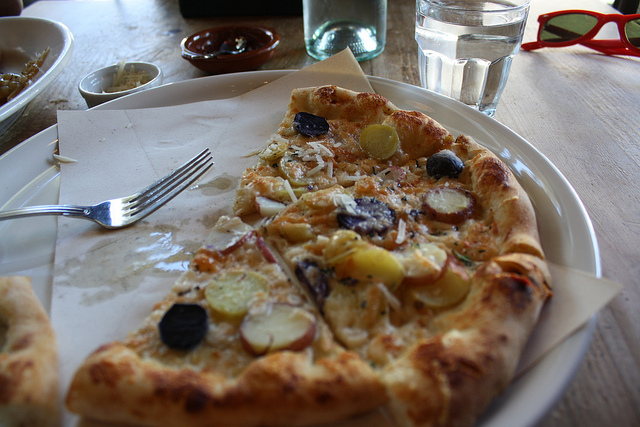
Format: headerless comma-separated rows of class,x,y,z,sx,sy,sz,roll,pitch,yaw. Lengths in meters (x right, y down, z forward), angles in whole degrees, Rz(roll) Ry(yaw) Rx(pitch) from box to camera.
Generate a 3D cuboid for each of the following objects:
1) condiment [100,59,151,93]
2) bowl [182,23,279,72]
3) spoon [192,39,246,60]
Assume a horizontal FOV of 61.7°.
condiment,-1.411,-1.036,4.056,0.216,0.093,0.221,10,83,-6
bowl,-0.739,-1.335,4.277,0.573,0.177,0.489,-28,50,-26
spoon,-0.771,-1.339,4.341,0.307,0.057,0.221,-24,44,-13
